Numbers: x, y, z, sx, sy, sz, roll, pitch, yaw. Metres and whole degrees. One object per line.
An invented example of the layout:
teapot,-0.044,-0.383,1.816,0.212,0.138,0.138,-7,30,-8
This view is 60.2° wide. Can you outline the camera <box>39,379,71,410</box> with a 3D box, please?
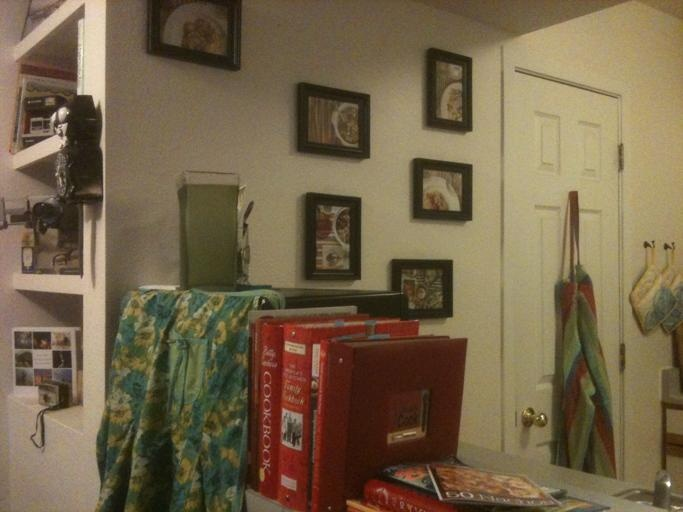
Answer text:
camera,-1.102,0.525,2.280,0.142,0.118,0.084,7,7,40
